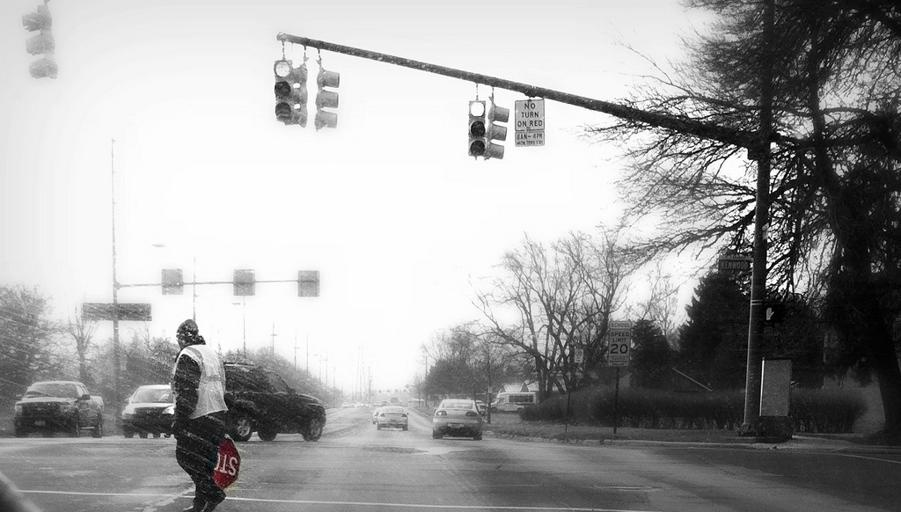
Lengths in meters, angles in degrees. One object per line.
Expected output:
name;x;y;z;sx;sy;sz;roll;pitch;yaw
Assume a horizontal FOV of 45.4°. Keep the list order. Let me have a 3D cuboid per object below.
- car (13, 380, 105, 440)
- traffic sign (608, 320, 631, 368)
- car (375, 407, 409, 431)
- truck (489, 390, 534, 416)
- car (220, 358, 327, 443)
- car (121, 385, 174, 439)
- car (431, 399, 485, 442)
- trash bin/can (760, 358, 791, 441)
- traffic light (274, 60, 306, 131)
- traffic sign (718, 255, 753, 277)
car;-17.603;6.930;49.005;1.849;2.522;4.084;-7;-12;30
traffic sign;7.297;3.756;46.461;1.063;1.831;0.911;-1;-9;-1
car;-3.422;9.666;64.438;1.767;1.536;2.423;0;-10;-5
truck;6.409;14.751;109.730;3.987;2.637;9.748;-1;-11;1
car;-7.185;5.963;42.941;2.323;2.839;5.940;-6;-10;39
car;-13.485;7.050;49.316;2.610;2.368;4.748;2;-9;-6
car;0.407;8.154;54.670;2.557;1.937;5.458;2;-4;5
trash bin/can;13.059;5.792;43.581;0.894;3.609;1.044;0;-1;-11
traffic light;-5.515;-5.678;37.399;1.040;2.393;0.487;1;-8;-14
traffic sign;11.423;0.564;43.703;1.198;1.163;0.335;4;12;9
